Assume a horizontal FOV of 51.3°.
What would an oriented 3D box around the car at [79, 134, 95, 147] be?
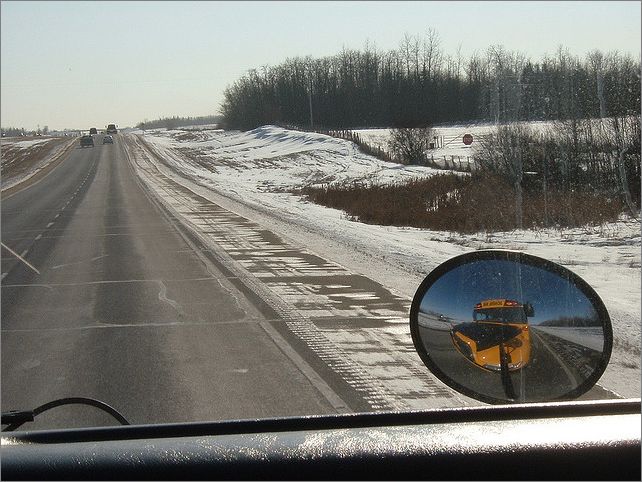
[{"bbox_3d":[-32.030,-13.644,90.892,1.493,1.105,3.371,-4,19,-14],"label":"car"}]
